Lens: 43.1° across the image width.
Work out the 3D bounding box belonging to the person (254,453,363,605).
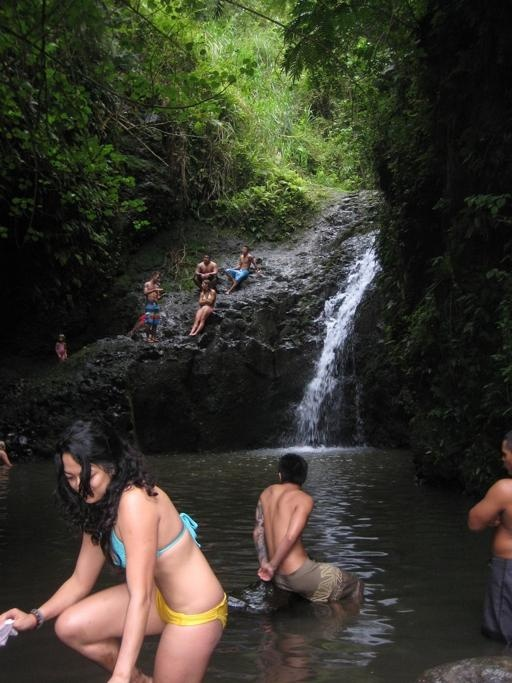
[{"bbox_3d":[0.349,1.292,4.445,0.808,0.952,0.540,9,8,19],"label":"person"}]

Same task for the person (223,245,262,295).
[{"bbox_3d":[-0.550,-2.047,17.715,0.895,0.907,1.470,28,42,26],"label":"person"}]

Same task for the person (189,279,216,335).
[{"bbox_3d":[-1.262,-0.845,15.857,0.551,1.327,1.571,6,7,-5],"label":"person"}]
